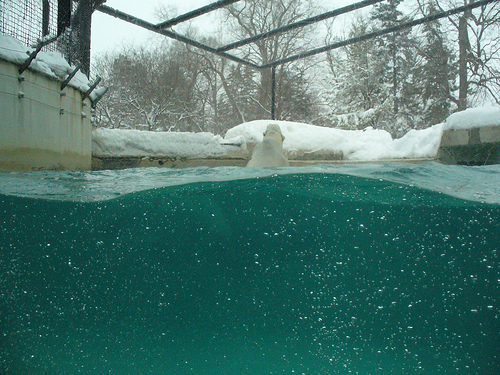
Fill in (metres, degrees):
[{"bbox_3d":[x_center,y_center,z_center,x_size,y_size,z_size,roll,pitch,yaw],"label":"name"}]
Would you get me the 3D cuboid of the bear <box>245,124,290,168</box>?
[{"bbox_3d":[0.470,-1.046,11.812,0.910,0.993,2.165,0,5,6],"label":"bear"}]
